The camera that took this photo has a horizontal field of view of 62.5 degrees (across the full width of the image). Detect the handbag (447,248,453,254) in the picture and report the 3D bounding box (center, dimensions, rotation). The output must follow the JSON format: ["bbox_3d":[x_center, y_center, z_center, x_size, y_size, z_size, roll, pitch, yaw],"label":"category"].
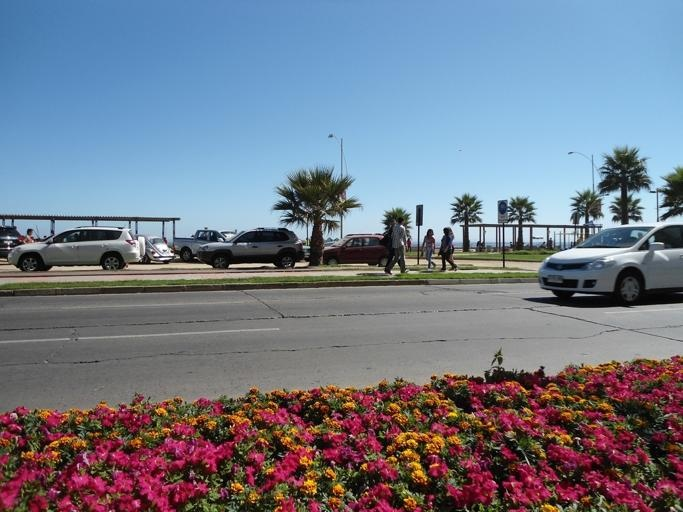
[{"bbox_3d":[4.491,-0.197,23.194,0.185,0.186,0.057,14,44,10],"label":"handbag"}]

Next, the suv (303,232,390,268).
[{"bbox_3d":[0.686,-0.226,28.211,2.615,1.385,1.636,2,-1,-3],"label":"suv"}]

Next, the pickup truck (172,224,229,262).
[{"bbox_3d":[-7.665,-0.486,32.707,4.057,1.879,1.784,2,3,22],"label":"pickup truck"}]

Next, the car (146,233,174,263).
[{"bbox_3d":[-10.269,-0.240,31.902,1.255,1.472,3.026,-2,4,-15],"label":"car"}]
